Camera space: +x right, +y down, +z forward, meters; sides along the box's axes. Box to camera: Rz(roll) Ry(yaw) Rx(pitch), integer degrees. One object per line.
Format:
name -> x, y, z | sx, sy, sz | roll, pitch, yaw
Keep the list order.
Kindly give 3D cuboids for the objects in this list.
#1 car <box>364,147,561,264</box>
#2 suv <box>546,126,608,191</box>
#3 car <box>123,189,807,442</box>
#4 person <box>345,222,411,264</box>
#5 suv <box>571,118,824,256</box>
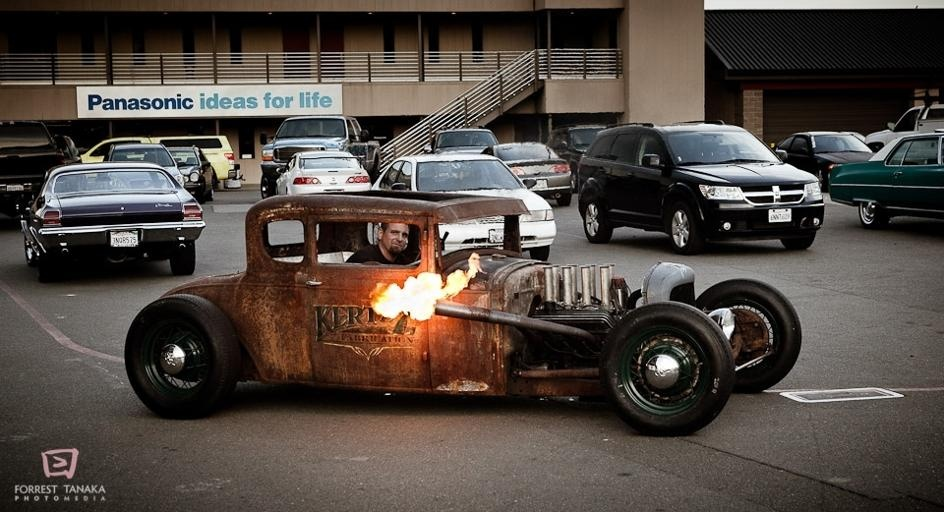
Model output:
car -> 0.317, -1.130, 16.647 | 2.332, 1.522, 3.854 | -2, 2, -19
suv -> 4.162, -4.663, 33.363 | 2.013, 1.786, 3.297 | -3, 4, -19
car -> -0.356, 0.756, 9.731 | 6.898, 2.472, 3.522 | -1, 5, 15
person -> -1.118, -0.133, 9.750 | 0.896, 0.540, 0.479 | 1, 4, -28
suv -> 5.099, -1.743, 19.097 | 3.028, 2.385, 5.420 | -2, 1, -30
